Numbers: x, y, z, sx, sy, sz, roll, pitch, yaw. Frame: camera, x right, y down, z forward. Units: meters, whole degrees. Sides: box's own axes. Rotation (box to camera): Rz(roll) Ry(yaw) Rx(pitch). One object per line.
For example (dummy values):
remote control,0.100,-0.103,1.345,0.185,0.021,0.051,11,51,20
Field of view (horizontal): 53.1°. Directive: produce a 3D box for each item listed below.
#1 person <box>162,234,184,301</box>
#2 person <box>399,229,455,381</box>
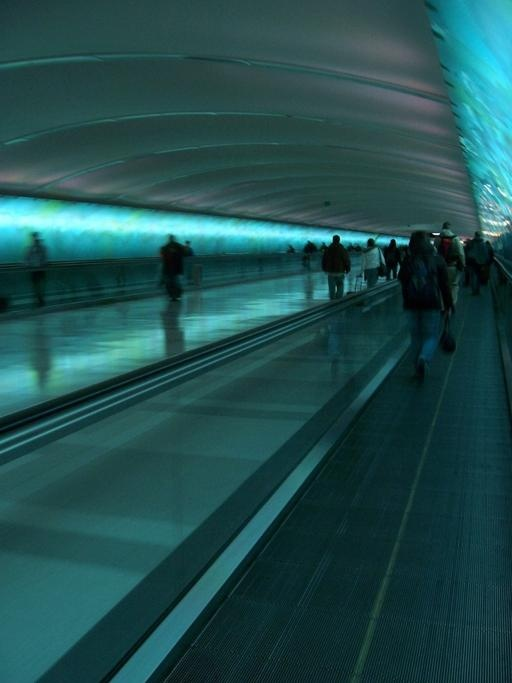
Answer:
person,-2.635,-2.393,16.689,0.762,2.163,1.041,-2,4,-11
person,2.368,-0.464,7.220,0.699,2.129,0.556,0,4,13
